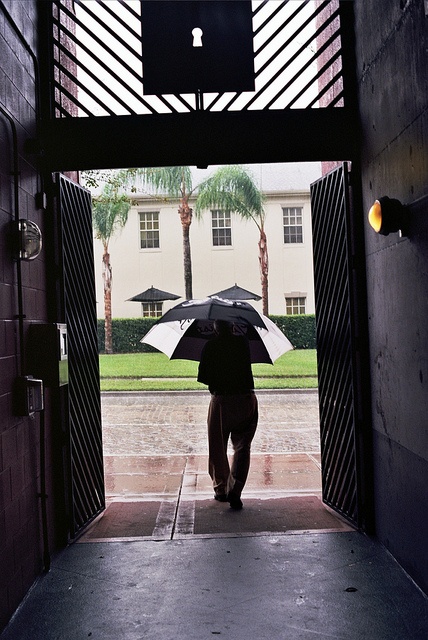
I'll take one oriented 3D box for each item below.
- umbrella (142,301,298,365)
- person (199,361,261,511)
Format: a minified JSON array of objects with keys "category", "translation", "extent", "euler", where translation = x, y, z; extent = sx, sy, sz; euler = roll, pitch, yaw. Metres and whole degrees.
[{"category":"umbrella","translation":[0.010,0.133,6.093],"extent":[1.354,0.595,1.177],"euler":[-1,-1,0]},{"category":"person","translation":[0.128,1.011,5.849],"extent":[0.449,1.280,0.417],"euler":[-1,-1,28]}]
